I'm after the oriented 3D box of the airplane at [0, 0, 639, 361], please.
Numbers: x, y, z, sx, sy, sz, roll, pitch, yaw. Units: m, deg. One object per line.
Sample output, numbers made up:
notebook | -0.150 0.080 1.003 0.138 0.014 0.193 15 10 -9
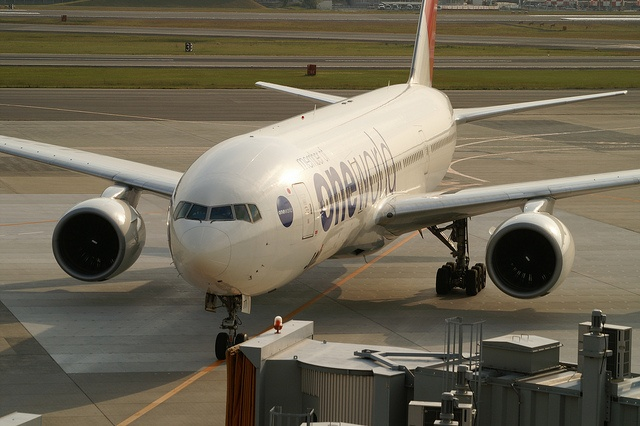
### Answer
airplane | 2.356 -0.699 27.721 18.643 4.034 13.973 3 12 23
